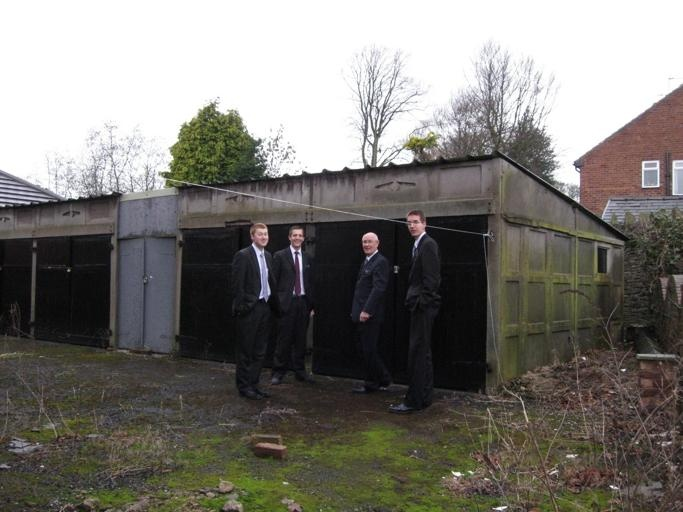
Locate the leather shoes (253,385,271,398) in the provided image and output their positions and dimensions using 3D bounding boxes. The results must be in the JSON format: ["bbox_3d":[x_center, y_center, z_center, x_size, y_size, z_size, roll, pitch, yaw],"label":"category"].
[{"bbox_3d":[-1.077,1.805,8.550,0.092,0.132,0.280,4,-16,-41],"label":"leather shoes"}]

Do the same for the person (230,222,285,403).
[{"bbox_3d":[-1.106,0.700,8.565,0.481,2.233,0.600,5,7,43],"label":"person"}]

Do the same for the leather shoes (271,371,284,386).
[{"bbox_3d":[-0.924,1.760,9.284,0.086,0.203,0.281,-1,-17,7],"label":"leather shoes"}]

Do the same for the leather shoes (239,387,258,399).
[{"bbox_3d":[-1.197,1.788,8.410,0.257,0.124,0.097,-3,-1,38],"label":"leather shoes"}]

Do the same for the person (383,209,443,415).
[{"bbox_3d":[0.961,0.672,8.065,0.502,2.451,0.683,1,5,8],"label":"person"}]
